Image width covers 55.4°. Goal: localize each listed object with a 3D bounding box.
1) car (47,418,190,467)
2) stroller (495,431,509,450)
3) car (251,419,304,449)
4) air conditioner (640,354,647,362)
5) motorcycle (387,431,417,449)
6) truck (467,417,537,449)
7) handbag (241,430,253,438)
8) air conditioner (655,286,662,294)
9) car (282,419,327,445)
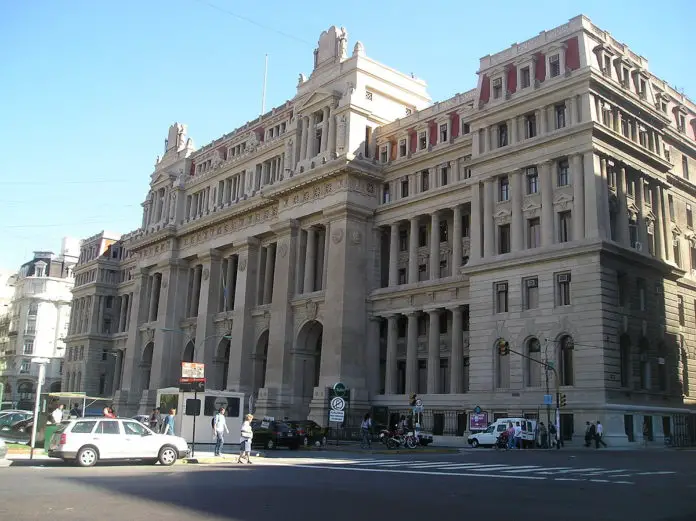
[{"bbox_3d":[-9.746,7.814,28.839,5.852,1.510,2.248,3,-13,-23],"label":"car"},{"bbox_3d":[10.243,11.934,43.822,1.079,1.169,1.149,1,-24,9],"label":"stroller"},{"bbox_3d":[-4.311,10.964,41.673,3.259,1.141,1.863,-5,-11,39],"label":"car"},{"bbox_3d":[22.440,7.348,50.394,0.678,0.611,0.261,10,-20,-27],"label":"air conditioner"},{"bbox_3d":[3.437,11.380,41.692,1.629,0.758,0.867,2,-11,-13],"label":"motorcycle"},{"bbox_3d":[10.460,11.828,45.524,4.040,1.493,2.294,-7,-16,36],"label":"truck"},{"bbox_3d":[-4.653,8.093,30.852,0.329,0.303,0.611,-7,-17,26],"label":"handbag"},{"bbox_3d":[24.874,2.354,53.093,0.695,0.539,0.314,6,-6,-44],"label":"air conditioner"},{"bbox_3d":[-2.751,11.509,43.963,2.199,1.334,3.410,-7,-9,44],"label":"car"}]
